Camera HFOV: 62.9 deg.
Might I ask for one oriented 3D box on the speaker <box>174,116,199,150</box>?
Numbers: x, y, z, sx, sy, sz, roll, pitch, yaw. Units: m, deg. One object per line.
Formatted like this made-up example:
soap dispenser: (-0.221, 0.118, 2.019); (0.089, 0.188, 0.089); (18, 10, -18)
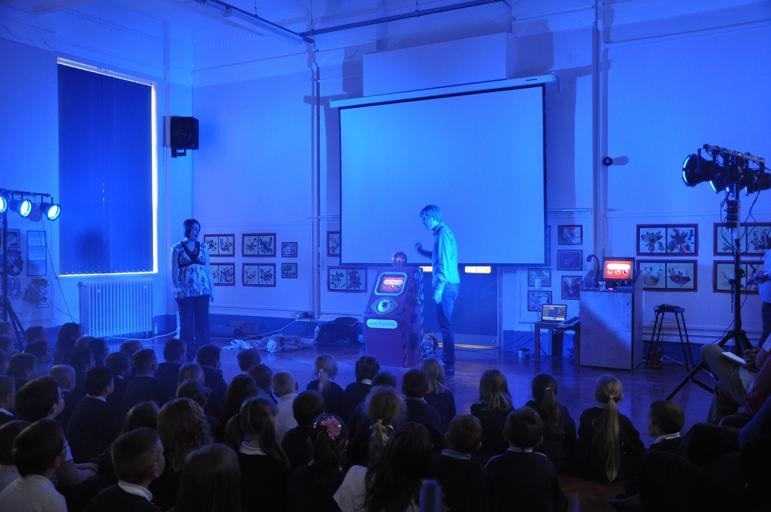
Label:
speaker: (-3.662, -2.344, 12.011); (0.529, 0.559, 0.768); (2, 6, 4)

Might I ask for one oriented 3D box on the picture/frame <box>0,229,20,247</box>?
picture/frame: (-5.772, -0.279, 9.650); (0.018, 0.208, 0.283); (-3, -1, 27)

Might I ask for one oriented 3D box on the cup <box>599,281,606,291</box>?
cup: (3.171, 0.436, 9.178); (0.105, 0.118, 0.107); (-2, 0, 0)
